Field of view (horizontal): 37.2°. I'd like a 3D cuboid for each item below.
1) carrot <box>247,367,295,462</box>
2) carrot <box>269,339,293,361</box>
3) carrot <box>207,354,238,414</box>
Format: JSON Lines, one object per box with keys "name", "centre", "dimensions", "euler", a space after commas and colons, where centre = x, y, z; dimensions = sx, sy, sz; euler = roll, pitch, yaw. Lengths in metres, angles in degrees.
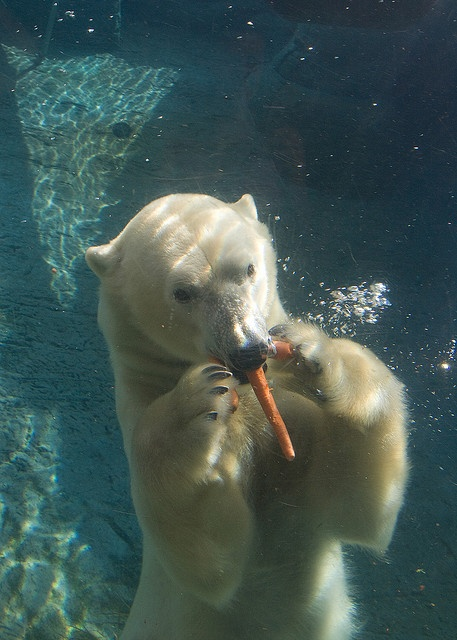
{"name": "carrot", "centre": [0.109, 0.228, 1.653], "dimensions": [0.045, 0.044, 0.266], "euler": [-29, 92, -58]}
{"name": "carrot", "centre": [0.132, 0.072, 1.635], "dimensions": [0.051, 0.022, 0.038], "euler": [44, 67, 3]}
{"name": "carrot", "centre": [-0.010, 0.156, 1.662], "dimensions": [0.083, 0.052, 0.129], "euler": [-9, 91, -3]}
